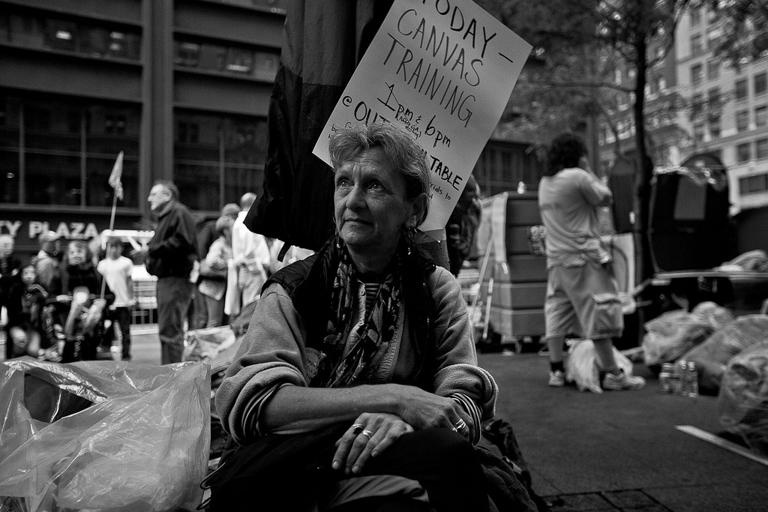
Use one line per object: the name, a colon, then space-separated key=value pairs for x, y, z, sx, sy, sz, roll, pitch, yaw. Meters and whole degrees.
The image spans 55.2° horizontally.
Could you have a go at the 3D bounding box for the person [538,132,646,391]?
person: x=2.096 y=0.019 z=7.811 sx=0.995 sy=2.722 sz=0.414 roll=-5 pitch=-5 yaw=44

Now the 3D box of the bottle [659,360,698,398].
bottle: x=2.816 y=1.180 z=7.013 sx=0.286 sy=0.320 sz=0.118 roll=-2 pitch=-7 yaw=42

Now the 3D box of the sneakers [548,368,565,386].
sneakers: x=1.853 y=1.328 z=7.893 sx=0.115 sy=0.194 sz=0.186 roll=-8 pitch=-23 yaw=24

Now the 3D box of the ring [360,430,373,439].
ring: x=-0.092 y=0.977 z=4.042 sx=0.038 sy=0.023 sz=0.052 roll=20 pitch=-10 yaw=-7

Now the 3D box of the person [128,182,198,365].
person: x=-2.696 y=0.181 z=9.348 sx=0.614 sy=2.338 sz=0.452 roll=0 pitch=-4 yaw=-13

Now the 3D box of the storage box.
storage box: x=1.869 y=0.188 z=10.341 sx=0.925 sy=1.817 sz=1.789 roll=0 pitch=-4 yaw=-10

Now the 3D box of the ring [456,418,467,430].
ring: x=0.442 y=0.954 z=4.180 sx=0.021 sy=0.055 sz=0.080 roll=-5 pitch=-5 yaw=43
